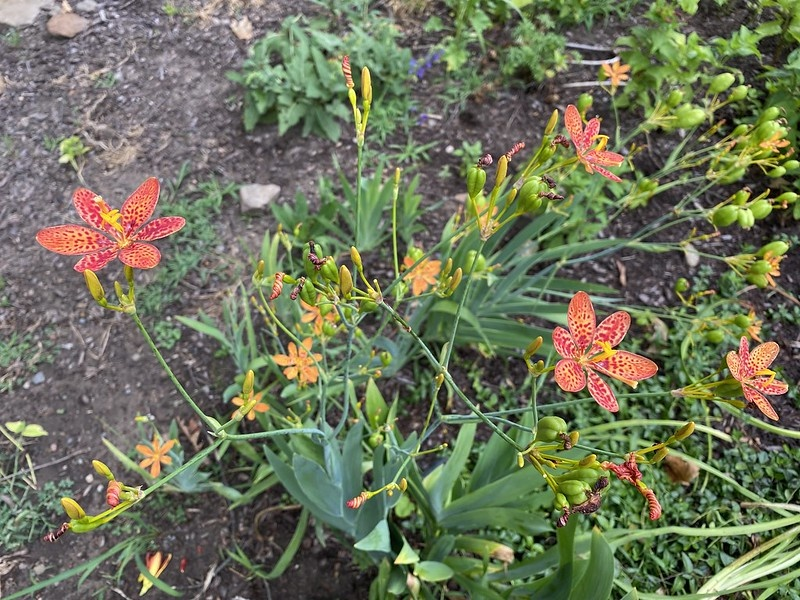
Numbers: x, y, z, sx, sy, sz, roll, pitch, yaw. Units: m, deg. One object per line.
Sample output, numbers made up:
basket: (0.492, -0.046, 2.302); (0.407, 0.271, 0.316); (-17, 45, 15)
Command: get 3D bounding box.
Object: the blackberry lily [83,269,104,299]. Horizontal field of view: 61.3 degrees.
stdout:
blackberry lily: (-1.083, -0.048, 2.374); (0.042, 0.136, 0.042); (25, 72, 2)
